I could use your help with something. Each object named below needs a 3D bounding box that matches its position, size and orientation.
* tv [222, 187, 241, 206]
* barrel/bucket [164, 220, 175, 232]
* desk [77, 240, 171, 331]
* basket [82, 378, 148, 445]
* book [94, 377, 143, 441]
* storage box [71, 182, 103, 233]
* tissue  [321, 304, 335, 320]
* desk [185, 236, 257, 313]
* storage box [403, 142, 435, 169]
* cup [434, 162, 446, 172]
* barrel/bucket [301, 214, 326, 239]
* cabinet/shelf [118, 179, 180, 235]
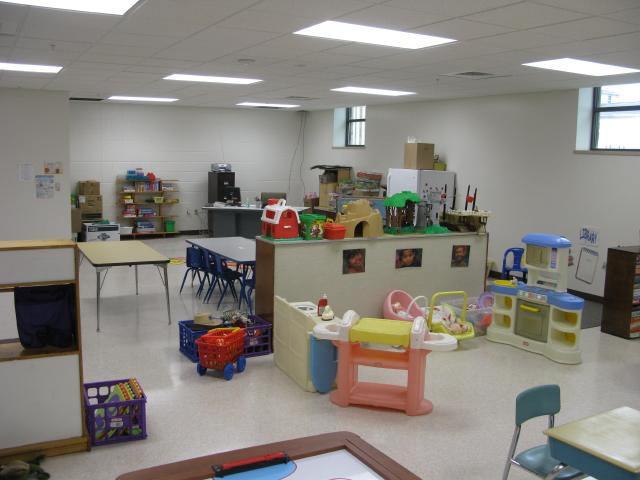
[{"bbox_3d":[-2.521,-1.224,13.393,0.515,0.666,0.333,1,9,0],"label":"tv"},{"bbox_3d":[-4.277,-0.393,13.560,0.289,0.364,0.293,0,2,0],"label":"barrel/bucket"},{"bbox_3d":[-3.184,0.633,7.602,1.070,0.979,2.044,-3,11,-35],"label":"desk"},{"bbox_3d":[-1.943,1.535,4.422,0.509,0.293,0.536,-14,-3,26],"label":"basket"},{"bbox_3d":[-1.825,1.559,4.364,0.441,0.338,0.446,-2,6,-21],"label":"book"},{"bbox_3d":[-6.036,-0.875,12.390,0.728,1.342,0.871,-3,8,-25],"label":"storage box"},{"bbox_3d":[0.076,0.829,5.382,0.151,0.150,0.147,9,15,44],"label":"tissue "},{"bbox_3d":[-1.525,0.441,7.859,0.982,0.637,2.160,-3,8,-25],"label":"desk"},{"bbox_3d":[2.160,-1.799,10.404,0.587,0.601,0.611,-5,8,-35],"label":"storage box"},{"bbox_3d":[2.652,-1.626,10.580,0.199,0.128,0.206,0,9,0],"label":"cup"},{"bbox_3d":[-0.121,-0.194,6.668,0.277,0.341,0.349,-1,7,-22],"label":"barrel/bucket"},{"bbox_3d":[-4.848,-0.926,13.296,1.504,1.472,0.451,-2,3,-29],"label":"cabinet/shelf"}]
